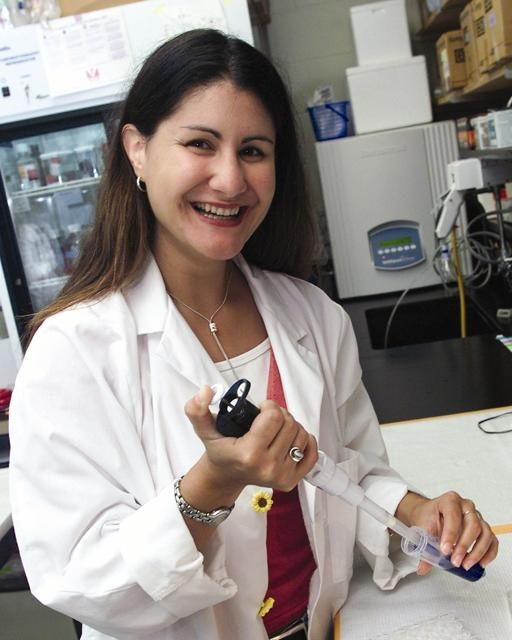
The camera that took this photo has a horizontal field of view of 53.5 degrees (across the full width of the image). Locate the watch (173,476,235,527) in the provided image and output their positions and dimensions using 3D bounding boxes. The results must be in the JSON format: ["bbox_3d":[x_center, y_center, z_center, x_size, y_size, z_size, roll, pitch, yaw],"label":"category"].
[{"bbox_3d":[-0.064,0.213,0.631,0.061,0.062,0.024,11,61,26],"label":"watch"}]

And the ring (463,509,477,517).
[{"bbox_3d":[0.319,0.291,0.765,0.018,0.008,0.022,-3,16,24],"label":"ring"}]

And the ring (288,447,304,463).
[{"bbox_3d":[0.043,0.141,0.541,0.005,0.018,0.018,-2,53,46],"label":"ring"}]

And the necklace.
[{"bbox_3d":[-0.066,0.008,0.930,0.084,0.239,0.007,-11,-28,-22],"label":"necklace"}]
